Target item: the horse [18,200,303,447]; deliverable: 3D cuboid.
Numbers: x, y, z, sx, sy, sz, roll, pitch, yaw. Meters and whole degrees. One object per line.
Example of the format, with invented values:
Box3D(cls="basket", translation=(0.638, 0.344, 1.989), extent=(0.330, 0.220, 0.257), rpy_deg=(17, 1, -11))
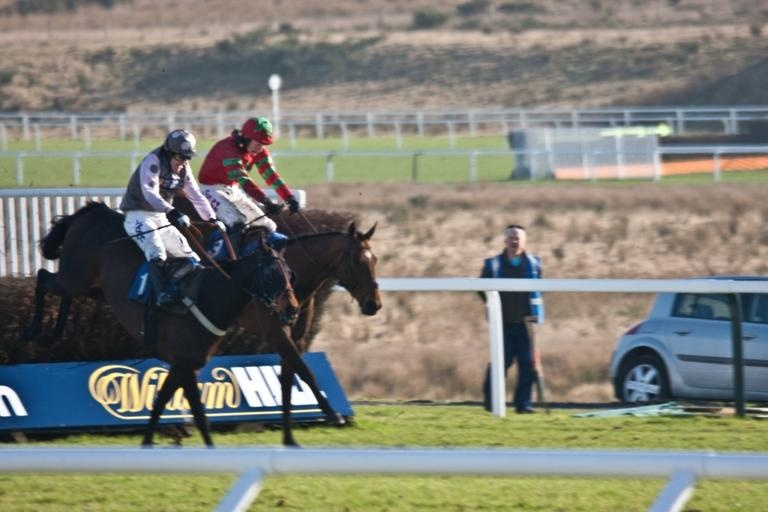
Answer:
Box3D(cls="horse", translation=(-5.581, 1.520, 45.700), extent=(2.457, 5.938, 10.067), rpy_deg=(-20, 34, -36))
